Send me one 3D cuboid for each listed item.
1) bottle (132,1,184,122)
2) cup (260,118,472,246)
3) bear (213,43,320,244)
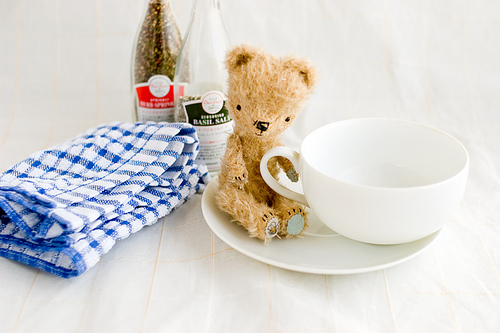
[{"bbox_3d":[-0.216,-0.233,0.995,0.126,0.248,0.175,-2,39,0],"label":"bottle"},{"bbox_3d":[0.212,0.052,0.785,0.226,0.121,0.278,-13,18,-28],"label":"cup"},{"bbox_3d":[0.018,-0.039,0.751,0.178,0.260,0.233,4,40,8],"label":"bear"}]
